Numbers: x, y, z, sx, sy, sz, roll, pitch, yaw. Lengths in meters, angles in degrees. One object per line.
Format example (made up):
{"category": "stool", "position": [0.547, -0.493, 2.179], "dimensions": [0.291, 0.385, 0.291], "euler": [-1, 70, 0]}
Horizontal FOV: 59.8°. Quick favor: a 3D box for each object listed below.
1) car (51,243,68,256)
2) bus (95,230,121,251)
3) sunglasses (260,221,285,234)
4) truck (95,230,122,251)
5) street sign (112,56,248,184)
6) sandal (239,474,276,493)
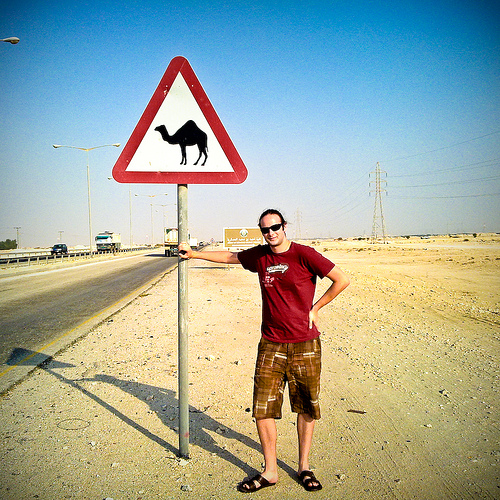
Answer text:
{"category": "car", "position": [-22.594, 0.100, 51.479], "dimensions": [1.160, 1.105, 2.079], "euler": [0, -7, -17]}
{"category": "bus", "position": [-22.393, -1.187, 68.416], "dimensions": [1.947, 3.169, 5.724], "euler": [-1, -4, -4]}
{"category": "sunglasses", "position": [0.190, -0.182, 3.725], "dimensions": [0.198, 0.098, 0.117], "euler": [0, 3, 9]}
{"category": "truck", "position": [-22.257, -1.182, 68.104], "dimensions": [1.995, 3.176, 5.797], "euler": [-2, -3, 0]}
{"category": "street sign", "position": [-0.602, -1.093, 3.740], "dimensions": [1.115, 1.060, 0.121], "euler": [-1, 2, -2]}
{"category": "sandal", "position": [0.074, 1.870, 3.554], "dimensions": [0.239, 0.100, 0.095], "euler": [4, -1, -24]}
